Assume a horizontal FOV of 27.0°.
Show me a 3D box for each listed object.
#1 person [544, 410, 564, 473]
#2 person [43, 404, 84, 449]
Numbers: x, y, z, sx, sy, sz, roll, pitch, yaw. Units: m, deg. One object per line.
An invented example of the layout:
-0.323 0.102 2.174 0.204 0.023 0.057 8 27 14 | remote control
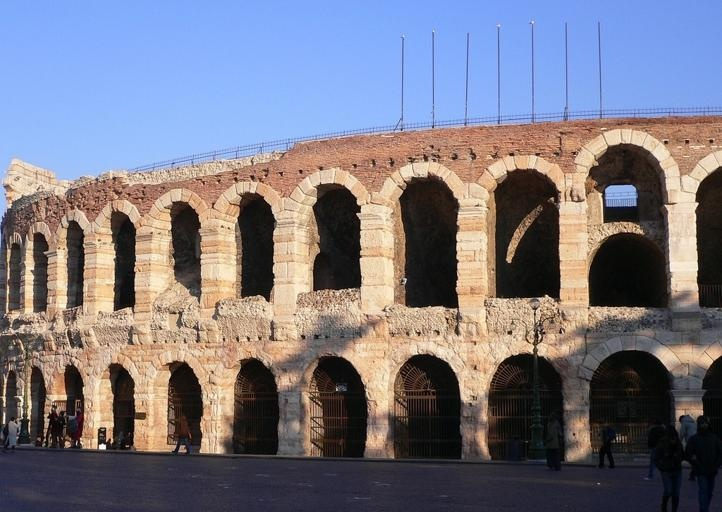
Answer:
6.263 6.060 49.250 0.529 1.484 1.621 2 13 7 | person
-11.762 6.660 59.402 1.531 2.072 0.666 0 -5 1 | person
